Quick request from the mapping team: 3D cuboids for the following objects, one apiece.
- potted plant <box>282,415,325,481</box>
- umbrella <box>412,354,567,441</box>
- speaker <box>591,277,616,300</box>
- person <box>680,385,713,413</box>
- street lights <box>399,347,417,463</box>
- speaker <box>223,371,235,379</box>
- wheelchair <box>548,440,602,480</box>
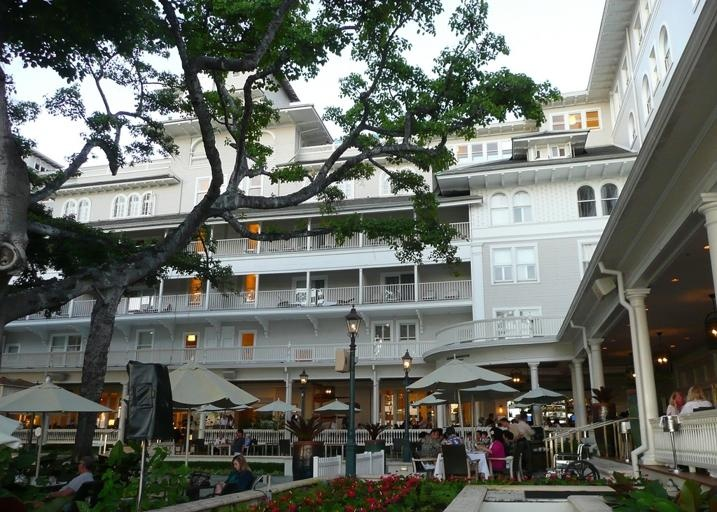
[{"bbox_3d":[-1.675,6.035,17.447,1.289,2.125,1.235,1,-16,32],"label":"potted plant"},{"bbox_3d":[2.853,3.864,16.357,2.932,2.111,2.956,-16,-22,24],"label":"umbrella"},{"bbox_3d":[6.709,0.855,14.771,0.357,0.354,0.661,-37,-13,13],"label":"speaker"},{"bbox_3d":[6.445,2.726,10.374,0.474,0.479,0.823,-11,-20,28],"label":"person"},{"bbox_3d":[1.694,5.845,20.639,0.761,4.763,0.875,1,-10,7],"label":"street lights"},{"bbox_3d":[-7.917,7.254,33.211,0.661,0.425,0.457,1,3,3],"label":"speaker"},{"bbox_3d":[5.390,5.108,13.351,1.261,1.159,1.104,-4,-7,5],"label":"wheelchair"}]
